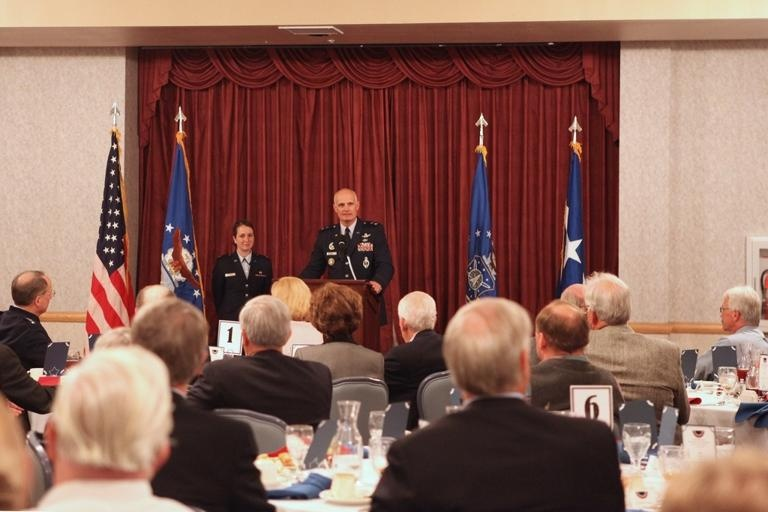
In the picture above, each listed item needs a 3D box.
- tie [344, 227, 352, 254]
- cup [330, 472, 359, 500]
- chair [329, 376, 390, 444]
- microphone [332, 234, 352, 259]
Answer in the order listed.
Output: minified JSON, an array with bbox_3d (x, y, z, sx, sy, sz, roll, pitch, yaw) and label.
[{"bbox_3d":[-0.343,-0.154,6.738,0.046,0.245,0.036,1,-22,4],"label":"tie"},{"bbox_3d":[-0.152,0.892,2.805,0.094,0.096,0.094,1,-6,0],"label":"cup"},{"bbox_3d":[-0.133,0.811,3.860,0.286,0.403,0.287,2,8,-7],"label":"chair"},{"bbox_3d":[-0.389,-0.109,6.778,0.123,0.225,0.092,-4,-23,5],"label":"microphone"}]
